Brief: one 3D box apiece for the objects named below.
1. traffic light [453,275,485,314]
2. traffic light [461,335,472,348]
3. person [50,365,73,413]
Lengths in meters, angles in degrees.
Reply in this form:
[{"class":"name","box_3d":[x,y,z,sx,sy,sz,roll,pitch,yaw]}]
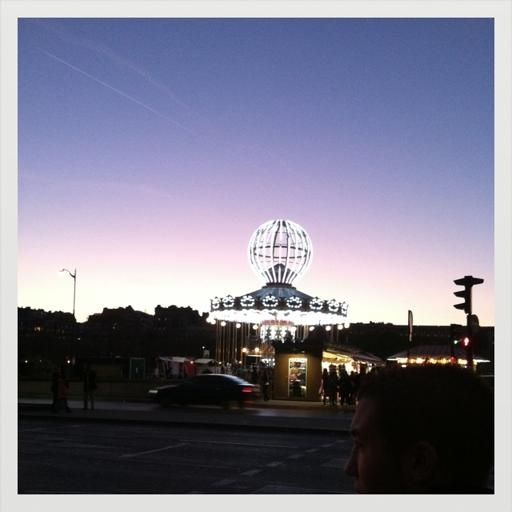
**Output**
[{"class":"traffic light","box_3d":[5.397,1.027,17.218,0.747,1.210,0.124,-3,-37,21]},{"class":"traffic light","box_3d":[5.335,2.189,17.289,0.161,0.305,0.428,1,-9,-6]},{"class":"person","box_3d":[-6.770,4.621,23.503,0.605,1.519,1.923,3,-9,-17]}]
